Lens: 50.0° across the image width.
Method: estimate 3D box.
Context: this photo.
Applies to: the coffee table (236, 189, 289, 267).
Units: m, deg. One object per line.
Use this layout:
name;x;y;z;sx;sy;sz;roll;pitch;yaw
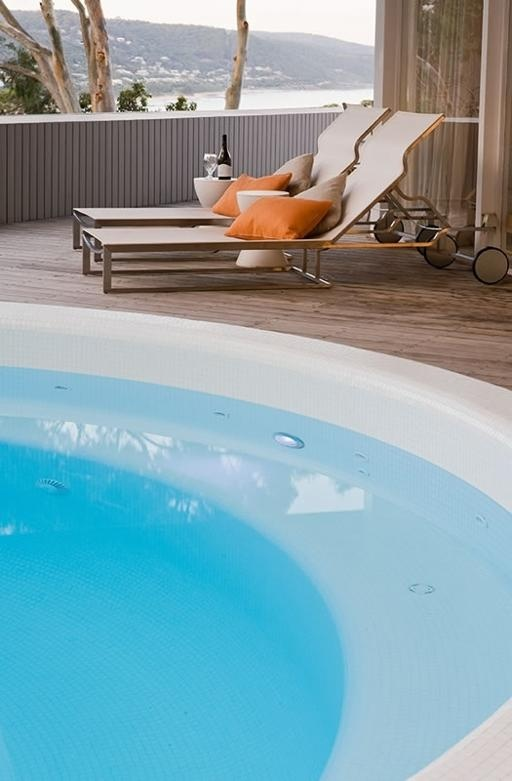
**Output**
coffee table;0.171;-1.594;5.281;0.644;0.901;0.649;2;20;6
